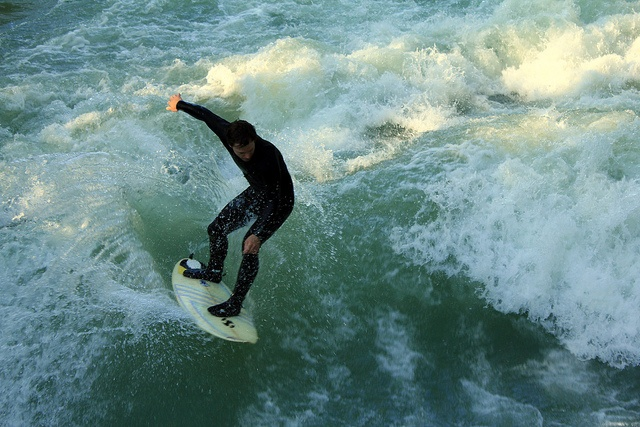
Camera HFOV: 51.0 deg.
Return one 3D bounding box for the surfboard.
[{"bbox_3d":[-2.079,1.687,12.322,0.867,0.382,2.215,-11,46,-33],"label":"surfboard"}]
